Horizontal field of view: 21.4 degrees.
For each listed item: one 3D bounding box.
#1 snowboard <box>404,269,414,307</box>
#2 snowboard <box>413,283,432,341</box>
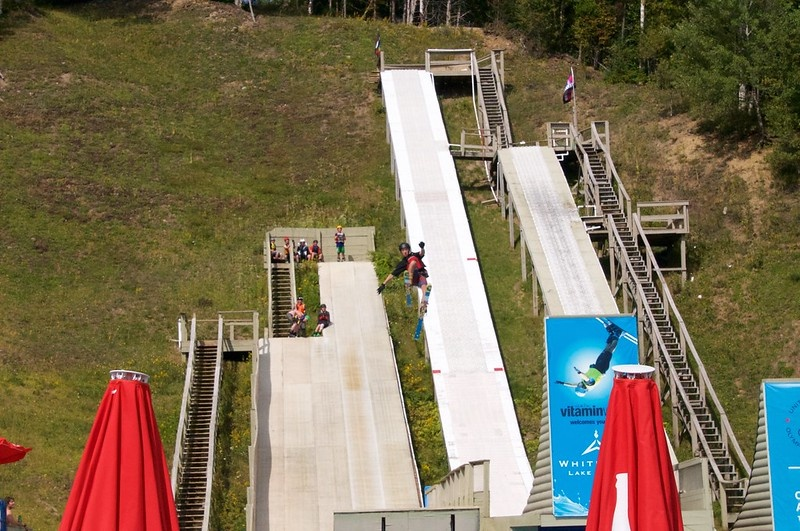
[{"bbox_3d":[0.327,0.740,103.487,0.261,0.211,1.934,-3,37,-3],"label":"snowboard"},{"bbox_3d":[1.018,2.078,101.640,0.507,3.874,0.262,12,-7,-18],"label":"snowboard"}]
